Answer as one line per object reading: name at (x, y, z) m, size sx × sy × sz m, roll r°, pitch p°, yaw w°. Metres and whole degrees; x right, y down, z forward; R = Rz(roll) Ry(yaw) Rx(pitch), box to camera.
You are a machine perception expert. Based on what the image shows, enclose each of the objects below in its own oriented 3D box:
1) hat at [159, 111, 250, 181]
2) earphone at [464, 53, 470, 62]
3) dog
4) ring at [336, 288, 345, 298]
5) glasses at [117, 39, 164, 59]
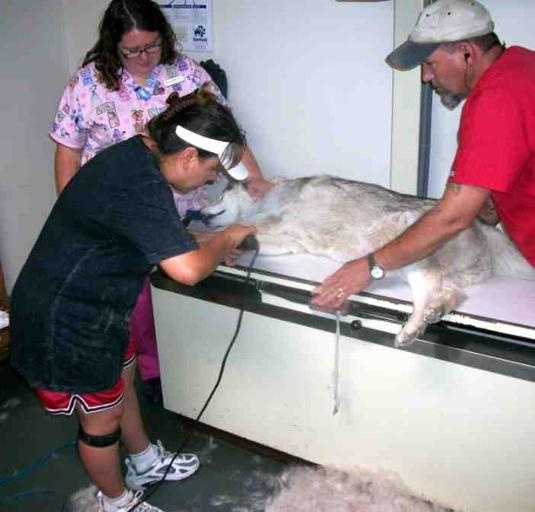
hat at (-0.138, -0.286, 1.335) m, size 0.163 × 0.052 × 0.090 m, roll 29°, pitch 7°, yaw -15°
earphone at (0.577, -0.574, 1.448) m, size 0.014 × 0.021 × 0.006 m, roll 1°, pitch 7°, yaw 21°
dog at (0.197, -0.055, 1.956) m, size 1.370 × 0.526 × 0.479 m, roll 18°, pitch -20°, yaw 25°
ring at (0.225, 0.110, 1.536) m, size 0.006 × 0.025 × 0.023 m, roll 6°, pitch -7°, yaw -38°
glasses at (-0.495, -0.813, 1.975) m, size 0.161 × 0.071 × 0.063 m, roll -8°, pitch 29°, yaw -17°
